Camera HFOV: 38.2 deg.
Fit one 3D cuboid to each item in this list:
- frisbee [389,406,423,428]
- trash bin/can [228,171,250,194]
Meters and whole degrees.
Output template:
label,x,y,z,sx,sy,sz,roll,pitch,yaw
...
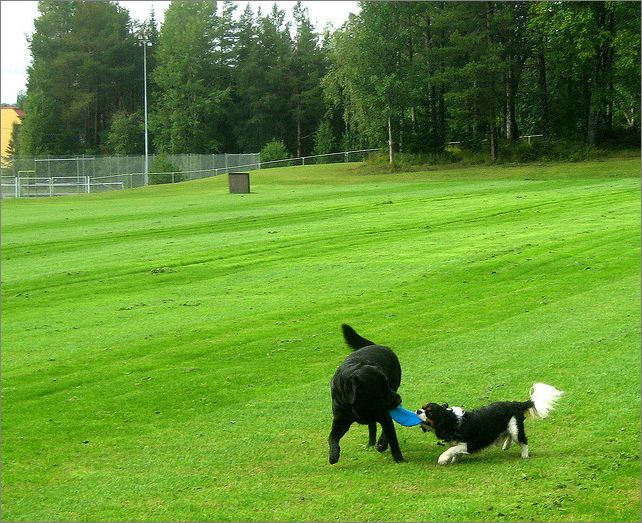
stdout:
label,x,y,z,sx,sy,sz,roll,pitch,yaw
frisbee,1.194,2.270,13.302,0.311,0.096,0.395,-2,8,-33
trash bin/can,-3.921,-3.738,43.754,0.983,0.941,1.036,-6,12,-3
